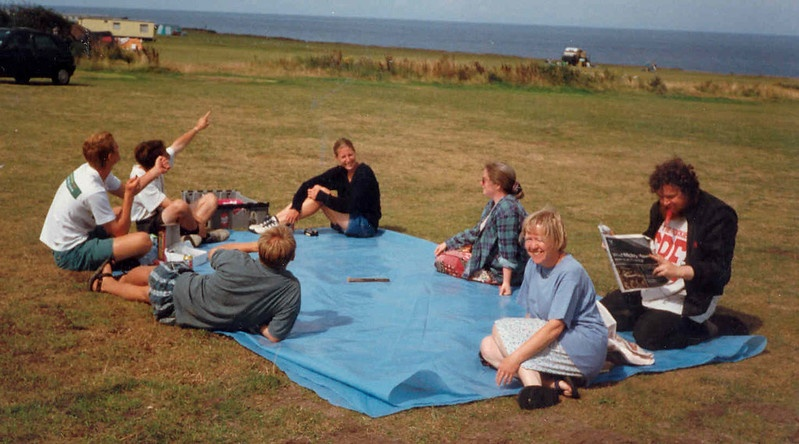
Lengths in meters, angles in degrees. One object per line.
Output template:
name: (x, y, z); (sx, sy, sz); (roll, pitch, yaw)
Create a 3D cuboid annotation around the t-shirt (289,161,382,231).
t-shirt: (-1.552, -0.520, 19.162); (2.280, 1.538, 1.332); (5, 6, -33)

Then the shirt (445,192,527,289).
shirt: (1.955, 0.412, 18.065); (1.456, 2.027, 2.070); (-3, 15, -39)

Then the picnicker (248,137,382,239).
picnicker: (-1.847, -0.751, 19.063); (2.883, 2.049, 1.423); (-4, 16, -24)

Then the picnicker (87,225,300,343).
picnicker: (-3.786, 1.309, 15.874); (3.192, 1.455, 2.197); (-3, 27, -27)

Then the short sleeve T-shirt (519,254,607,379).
short sleeve T-shirt: (3.092, 1.842, 15.989); (1.510, 2.303, 1.752); (-2, 6, -22)

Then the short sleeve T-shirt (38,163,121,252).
short sleeve T-shirt: (-6.547, -0.244, 16.972); (1.456, 1.710, 0.430); (2, 16, 3)

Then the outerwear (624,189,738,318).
outerwear: (5.553, 0.736, 16.445); (1.947, 2.625, 2.260); (-5, 13, -22)

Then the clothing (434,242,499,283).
clothing: (1.357, 0.874, 17.757); (0.777, 0.402, 1.062); (1, 7, -45)

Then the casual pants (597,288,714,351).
casual pants: (5.002, 1.988, 16.527); (1.598, 0.548, 1.285); (2, 8, -6)

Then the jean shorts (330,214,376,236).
jean shorts: (-1.019, 0.087, 19.183); (0.643, 0.248, 0.522); (2, 9, -20)

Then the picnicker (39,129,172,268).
picnicker: (-6.147, -0.292, 17.593); (2.886, 3.128, 2.234); (-8, 25, -36)

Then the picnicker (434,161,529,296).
picnicker: (2.163, -0.174, 18.524); (2.634, 3.063, 2.591); (5, 21, 8)

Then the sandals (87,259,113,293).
sandals: (-6.029, 1.086, 16.833); (0.320, 0.303, 0.814); (-1, 51, 49)
